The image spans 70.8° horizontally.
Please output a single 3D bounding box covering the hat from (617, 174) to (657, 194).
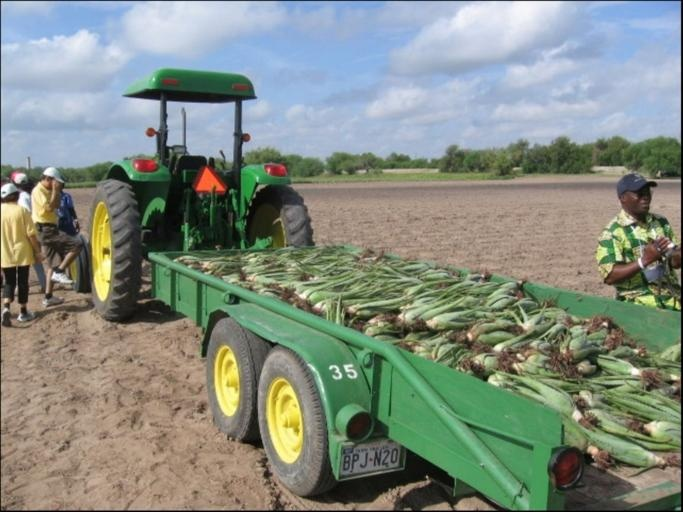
[{"bbox_3d":[2.602,-0.640,4.311,0.214,0.177,0.305,-8,2,-21],"label":"hat"}]

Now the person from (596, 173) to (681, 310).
[{"bbox_3d":[2.629,-0.125,4.198,0.671,1.154,0.779,7,14,28],"label":"person"}]

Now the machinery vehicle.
[{"bbox_3d":[-2.491,-1.024,7.975,2.621,3.434,4.190,-4,10,-28],"label":"machinery vehicle"}]
